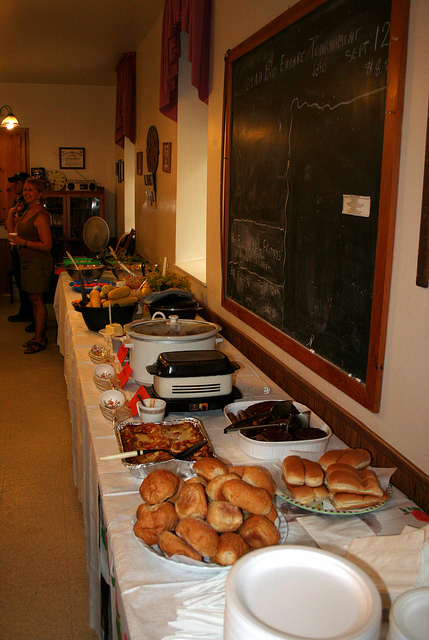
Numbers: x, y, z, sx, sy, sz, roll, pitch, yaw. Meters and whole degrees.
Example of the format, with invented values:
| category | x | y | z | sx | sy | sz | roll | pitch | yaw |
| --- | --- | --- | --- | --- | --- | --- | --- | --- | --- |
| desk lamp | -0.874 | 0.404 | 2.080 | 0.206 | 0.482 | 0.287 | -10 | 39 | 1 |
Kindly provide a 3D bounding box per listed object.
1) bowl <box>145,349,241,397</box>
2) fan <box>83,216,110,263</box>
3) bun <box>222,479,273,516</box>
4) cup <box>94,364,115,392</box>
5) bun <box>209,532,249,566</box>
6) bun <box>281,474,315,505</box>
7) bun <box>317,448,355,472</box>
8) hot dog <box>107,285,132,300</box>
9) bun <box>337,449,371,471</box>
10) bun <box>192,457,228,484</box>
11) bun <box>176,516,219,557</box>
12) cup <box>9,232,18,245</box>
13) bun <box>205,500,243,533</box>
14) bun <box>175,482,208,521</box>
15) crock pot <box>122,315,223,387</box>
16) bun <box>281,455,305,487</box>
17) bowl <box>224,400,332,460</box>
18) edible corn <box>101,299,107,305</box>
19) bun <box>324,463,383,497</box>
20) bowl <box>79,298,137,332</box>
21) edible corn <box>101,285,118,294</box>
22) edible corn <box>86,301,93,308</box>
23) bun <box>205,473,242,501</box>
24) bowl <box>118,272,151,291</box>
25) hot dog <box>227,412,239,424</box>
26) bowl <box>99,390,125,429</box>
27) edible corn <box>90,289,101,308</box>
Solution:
| category | x | y | z | sx | sy | sz | roll | pitch | yaw |
| --- | --- | --- | --- | --- | --- | --- | --- | --- | --- |
| bowl | -0.067 | 0.217 | 1.578 | 0.333 | 0.201 | 0.209 | -2 | 1 | -3 |
| fan | -1.230 | -0.875 | 4.824 | 0.263 | 0.468 | 0.127 | -5 | 14 | -9 |
| bun | 0.062 | 0.320 | 0.873 | 0.086 | 0.043 | 0.050 | 25 | 9 | 11 |
| cup | -0.424 | 0.221 | 1.782 | 0.052 | 0.053 | 0.125 | -2 | 39 | -14 |
| bun | 0.028 | 0.396 | 0.779 | 0.050 | 0.044 | 0.044 | 8 | 11 | 26 |
| bun | 0.191 | 0.384 | 1.031 | 0.047 | 0.032 | 0.098 | -6 | 15 | -17 |
| bun | 0.288 | 0.337 | 1.119 | 0.052 | 0.018 | 0.053 | -13 | 5 | -18 |
| hot dog | -0.529 | -0.160 | 2.605 | 0.055 | 0.062 | 0.173 | -36 | -5 | 29 |
| bun | 0.339 | 0.330 | 1.091 | 0.060 | 0.022 | 0.047 | -8 | 33 | -21 |
| bun | -0.011 | 0.322 | 0.991 | 0.041 | 0.032 | 0.054 | -4 | 1 | -40 |
| bun | -0.031 | 0.375 | 0.796 | 0.089 | 0.051 | 0.052 | 8 | 11 | 25 |
| cup | -2.000 | -0.822 | 4.554 | 0.074 | 0.110 | 0.233 | -2 | 12 | -23 |
| bun | 0.017 | 0.348 | 0.807 | 0.046 | 0.027 | 0.054 | 12 | 29 | -27 |
| bun | -0.045 | 0.338 | 0.845 | 0.045 | 0.023 | 0.068 | -10 | 51 | 9 |
| crock pot | -0.164 | 0.090 | 1.775 | 0.324 | 0.281 | 0.307 | 1 | 17 | 0 |
| bun | 0.183 | 0.348 | 1.067 | 0.033 | 0.033 | 0.101 | 11 | 6 | -2 |
| bowl | 0.184 | 0.325 | 1.371 | 0.253 | 0.105 | 0.348 | 0 | 11 | -15 |
| edible corn | -0.622 | -0.106 | 2.565 | 0.020 | 0.025 | 0.027 | 0 | -22 | -6 |
| bun | 0.307 | 0.341 | 1.042 | 0.105 | 0.062 | 0.099 | -1 | 15 | -24 |
| bowl | -0.576 | -0.008 | 2.484 | 0.298 | 0.170 | 0.170 | 0 | 10 | -11 |
| edible corn | -0.621 | -0.192 | 2.710 | 0.046 | 0.042 | 0.107 | -2 | 13 | 1 |
| edible corn | -0.701 | -0.091 | 2.564 | 0.034 | 0.022 | 0.049 | 1 | 3 | -6 |
| bun | 0.017 | 0.339 | 0.918 | 0.041 | 0.022 | 0.045 | 9 | 37 | 11 |
| bowl | -0.559 | -0.271 | 3.154 | 0.203 | 0.125 | 0.214 | 0 | 8 | 0 |
| hot dog | 0.055 | 0.307 | 1.437 | 0.011 | 0.013 | 0.048 | -9 | 14 | -10 |
| bowl | -0.325 | 0.313 | 1.515 | 0.054 | 0.024 | 0.168 | 4 | 41 | -24 |
| edible corn | -0.657 | -0.117 | 2.524 | 0.038 | 0.134 | 0.041 | 8 | -25 | -26 |
